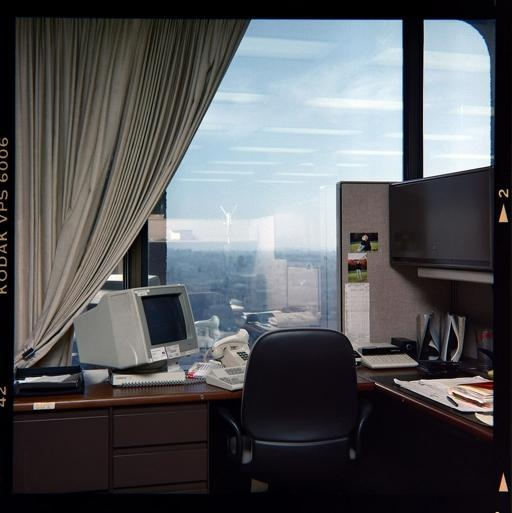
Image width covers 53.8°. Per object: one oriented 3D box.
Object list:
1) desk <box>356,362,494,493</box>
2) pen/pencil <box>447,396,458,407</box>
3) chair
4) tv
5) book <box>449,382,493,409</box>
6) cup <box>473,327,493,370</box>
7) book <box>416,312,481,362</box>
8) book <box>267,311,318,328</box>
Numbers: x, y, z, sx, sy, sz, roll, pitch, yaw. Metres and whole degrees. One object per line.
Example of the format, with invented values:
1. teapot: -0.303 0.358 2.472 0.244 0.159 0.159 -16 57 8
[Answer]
1. desk: 0.771 0.771 2.279 0.323 0.573 0.712 1 -4 -13
2. pen/pencil: 0.751 0.559 1.936 0.016 0.010 0.035 9 15 -13
3. chair: 0.145 0.630 2.275 0.484 0.791 0.574 1 -3 -4
4. tv: -0.579 0.366 2.511 0.437 0.397 0.468 -12 -7 36
5. book: 0.830 0.526 1.910 0.081 0.026 0.090 -5 9 -12
6. cup: 1.100 0.453 2.439 0.065 0.172 0.156 -1 3 21
7. book: 0.969 0.418 2.589 0.233 0.305 0.233 3 -2 -1
8. book: 0.206 0.353 2.821 0.287 0.100 0.058 -3 3 -1
